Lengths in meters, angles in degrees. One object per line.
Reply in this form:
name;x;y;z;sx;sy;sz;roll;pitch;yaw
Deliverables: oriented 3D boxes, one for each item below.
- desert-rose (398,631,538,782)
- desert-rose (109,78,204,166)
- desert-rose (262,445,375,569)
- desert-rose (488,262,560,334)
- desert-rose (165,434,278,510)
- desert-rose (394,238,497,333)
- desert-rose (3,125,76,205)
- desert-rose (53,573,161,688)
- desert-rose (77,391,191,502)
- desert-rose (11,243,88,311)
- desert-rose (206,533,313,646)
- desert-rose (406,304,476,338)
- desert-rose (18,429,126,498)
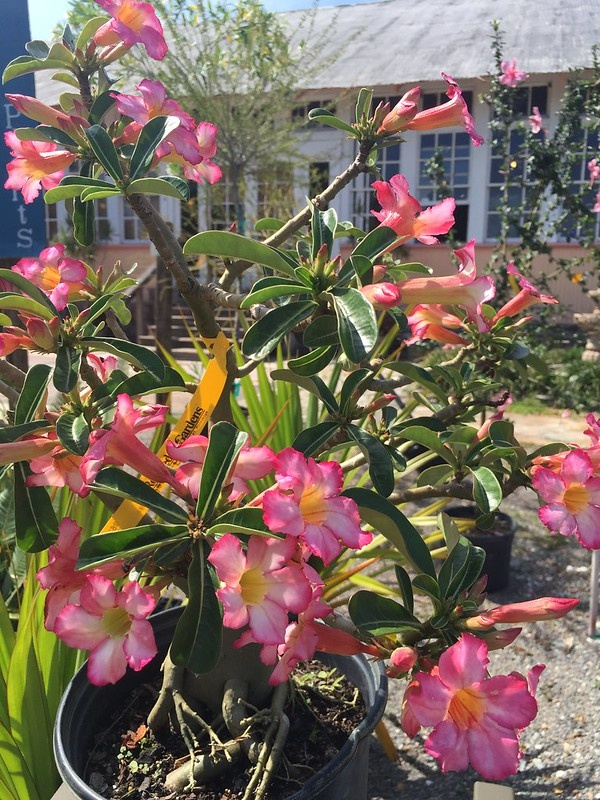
desert-rose;0.197;0.341;0.974;0.183;0.168;0.077;8;-9;-9
desert-rose;-0.208;-0.379;1.187;0.142;0.134;0.058;12;-36;-34
desert-rose;0.022;0.124;0.936;0.119;0.127;0.123;0;12;5
desert-rose;0.414;-0.178;1.549;0.095;0.035;0.149;27;-14;-13
desert-rose;-0.108;0.099;1.075;0.110;0.053;0.100;19;48;5
desert-rose;0.202;-0.156;1.176;0.152;0.094;0.124;-2;-5;12
desert-rose;-0.411;-0.367;1.282;0.113;0.102;0.106;-3;12;-10
desert-rose;-0.223;0.271;0.947;0.079;0.111;0.122;-12;16;-43
desert-rose;-0.213;0.058;1.039;0.089;0.087;0.098;-11;7;-14
desert-rose;-0.404;-0.203;1.326;0.138;0.128;0.034;-18;59;-10
desert-rose;-0.042;0.204;0.939;0.111;0.112;0.157;0;11;4
desert-rose;0.246;-0.130;1.464;0.107;0.053;0.061;12;25;-19
desert-rose;-0.296;0.080;1.023;0.107;0.101;0.044;-24;60;-6
